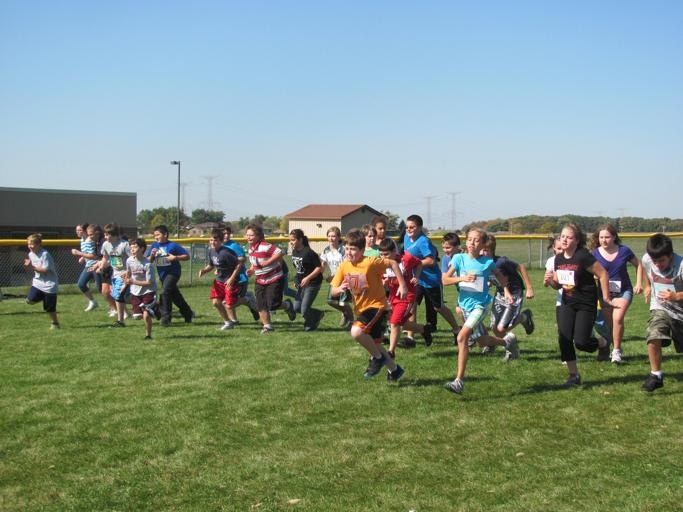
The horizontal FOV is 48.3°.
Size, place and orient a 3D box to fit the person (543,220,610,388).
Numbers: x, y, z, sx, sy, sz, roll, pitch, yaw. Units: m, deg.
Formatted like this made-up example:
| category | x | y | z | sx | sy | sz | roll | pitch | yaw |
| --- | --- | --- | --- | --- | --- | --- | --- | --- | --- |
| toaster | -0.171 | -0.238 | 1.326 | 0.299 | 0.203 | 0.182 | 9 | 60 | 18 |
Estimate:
| category | x | y | z | sx | sy | sz | roll | pitch | yaw |
| --- | --- | --- | --- | --- | --- | --- | --- | --- | --- |
| person | 2.909 | 0.588 | 9.455 | 0.606 | 1.994 | 0.652 | -4 | 15 | -14 |
